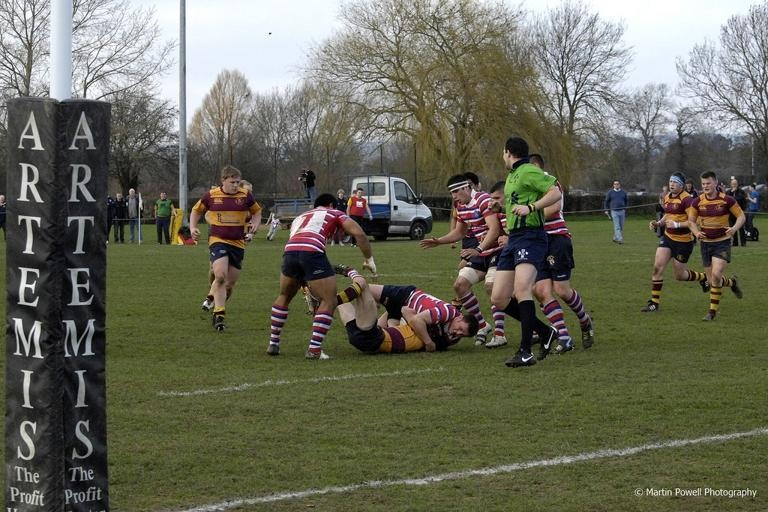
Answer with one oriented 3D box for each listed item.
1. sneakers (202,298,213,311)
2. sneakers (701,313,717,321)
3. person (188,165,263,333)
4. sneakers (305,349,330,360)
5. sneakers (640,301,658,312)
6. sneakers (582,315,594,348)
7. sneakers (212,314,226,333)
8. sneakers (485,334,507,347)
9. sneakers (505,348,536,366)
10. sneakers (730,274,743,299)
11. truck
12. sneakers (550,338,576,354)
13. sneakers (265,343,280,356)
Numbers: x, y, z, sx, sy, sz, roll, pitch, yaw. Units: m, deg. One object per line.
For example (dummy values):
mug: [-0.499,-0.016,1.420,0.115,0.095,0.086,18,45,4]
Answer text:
sneakers: [-2.649,0.722,13.444,0.112,0.140,0.281,1,-2,-21]
sneakers: [4.682,0.878,12.929,0.087,0.121,0.263,3,4,44]
person: [-2.310,-0.172,12.682,0.885,2.133,1.400,0,8,5]
sneakers: [-0.789,1.169,10.594,0.322,0.147,0.108,1,4,-11]
sneakers: [4.089,0.789,13.816,0.367,0.159,0.123,-2,1,-34]
sneakers: [2.483,0.909,11.150,0.148,0.459,0.207,-3,-4,41]
sneakers: [-2.232,0.906,12.142,0.097,0.169,0.290,1,8,-13]
sneakers: [1.434,1.072,11.369,0.309,0.155,0.111,-3,2,-19]
sneakers: [1.528,1.137,10.092,0.379,0.195,0.144,-3,1,-9]
sneakers: [5.839,0.527,14.895,0.128,0.408,0.183,-5,42,30]
truck: [-0.992,-1.698,31.937,5.042,2.349,2.672,-5,7,-31]
sneakers: [2.154,1.089,10.872,0.120,0.156,0.363,-8,-2,30]
sneakers: [-1.326,1.122,10.748,0.137,0.112,0.265,0,3,-2]
